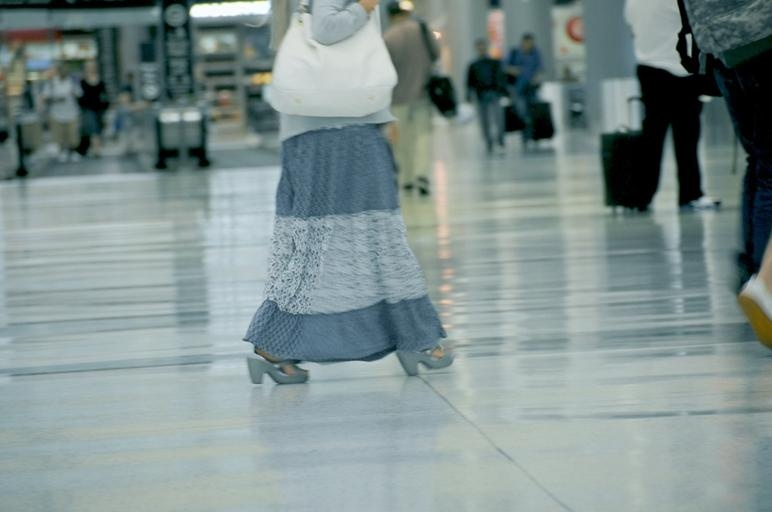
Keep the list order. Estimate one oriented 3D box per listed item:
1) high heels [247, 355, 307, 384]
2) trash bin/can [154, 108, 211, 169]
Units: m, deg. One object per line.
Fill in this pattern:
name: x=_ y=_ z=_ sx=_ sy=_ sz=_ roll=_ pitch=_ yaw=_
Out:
high heels: x=-0.525 y=0.544 z=6.147 sx=0.271 sy=0.103 sz=0.133 roll=1 pitch=4 yaw=-19
trash bin/can: x=-2.765 y=-1.635 z=17.426 sx=0.767 sy=0.893 sz=0.680 roll=-3 pitch=15 yaw=-8
